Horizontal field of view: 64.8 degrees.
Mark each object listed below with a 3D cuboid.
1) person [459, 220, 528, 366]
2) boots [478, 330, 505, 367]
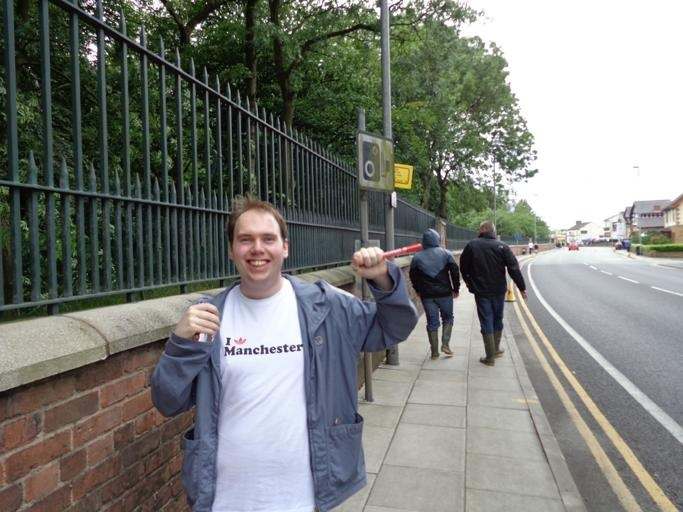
[{"bbox_3d":[2.372,0.558,8.408,0.972,2.179,0.945,-1,4,16],"label":"person"},{"bbox_3d":[2.360,1.426,8.310,0.407,0.530,0.425,-2,3,7],"label":"boots"}]
